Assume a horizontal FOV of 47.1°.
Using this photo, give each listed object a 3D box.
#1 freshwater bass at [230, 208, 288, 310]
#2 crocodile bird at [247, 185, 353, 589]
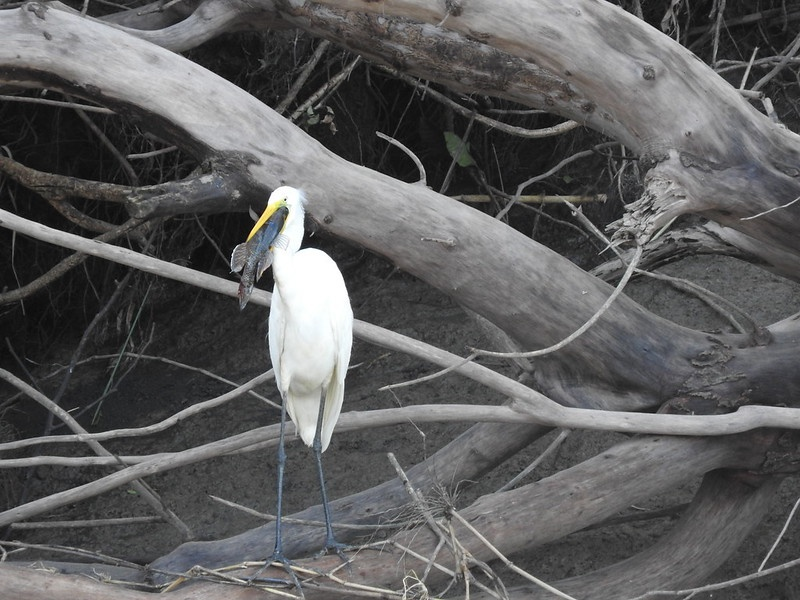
[{"bbox_3d":[-0.645,-0.221,4.160,0.249,0.477,0.268,-5,15,-37],"label":"freshwater bass"},{"bbox_3d":[-0.565,0.347,4.547,0.627,1.745,0.777,3,11,0],"label":"crocodile bird"}]
